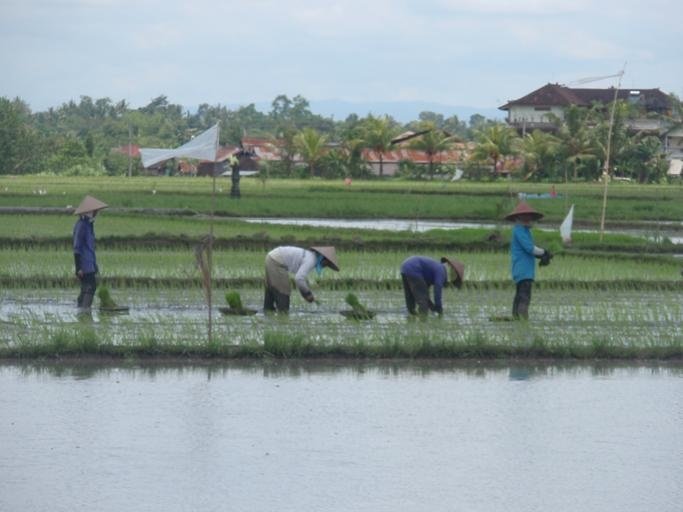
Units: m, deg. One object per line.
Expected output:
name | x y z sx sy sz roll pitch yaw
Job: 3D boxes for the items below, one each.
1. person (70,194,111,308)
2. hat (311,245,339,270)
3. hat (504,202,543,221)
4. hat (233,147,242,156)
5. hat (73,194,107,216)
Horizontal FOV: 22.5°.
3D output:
person | -8.286 -0.178 55.601 0.919 3.641 1.213 -2 4 -9
hat | -0.477 0.031 54.603 0.637 0.754 0.949 0 4 26
hat | 6.515 -1.629 61.384 1.336 0.626 1.366 0 -7 -1
hat | -6.409 -6.405 104.279 0.447 0.580 1.340 -3 7 -2
hat | -8.127 -1.660 55.402 0.772 0.416 0.789 -9 5 3
